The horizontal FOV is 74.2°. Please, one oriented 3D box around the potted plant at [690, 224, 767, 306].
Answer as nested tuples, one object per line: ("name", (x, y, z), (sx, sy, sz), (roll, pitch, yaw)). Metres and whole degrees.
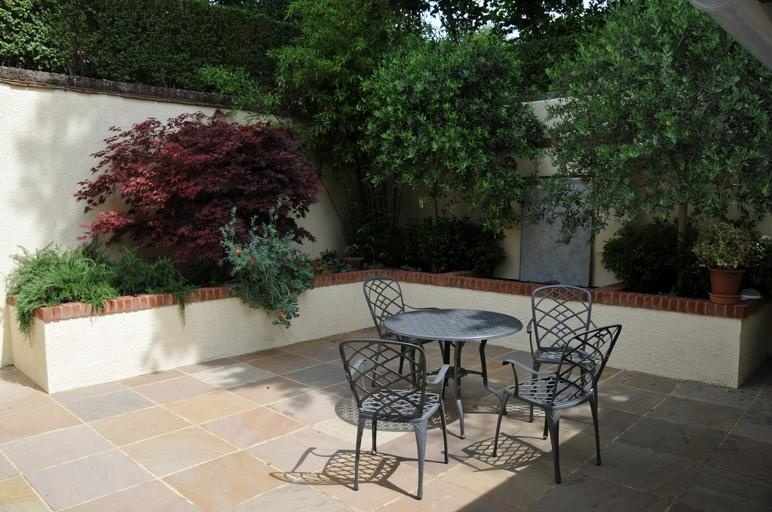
("potted plant", (3.908, 0.079, 5.909), (0.608, 0.948, 0.301), (0, 6, 31))
